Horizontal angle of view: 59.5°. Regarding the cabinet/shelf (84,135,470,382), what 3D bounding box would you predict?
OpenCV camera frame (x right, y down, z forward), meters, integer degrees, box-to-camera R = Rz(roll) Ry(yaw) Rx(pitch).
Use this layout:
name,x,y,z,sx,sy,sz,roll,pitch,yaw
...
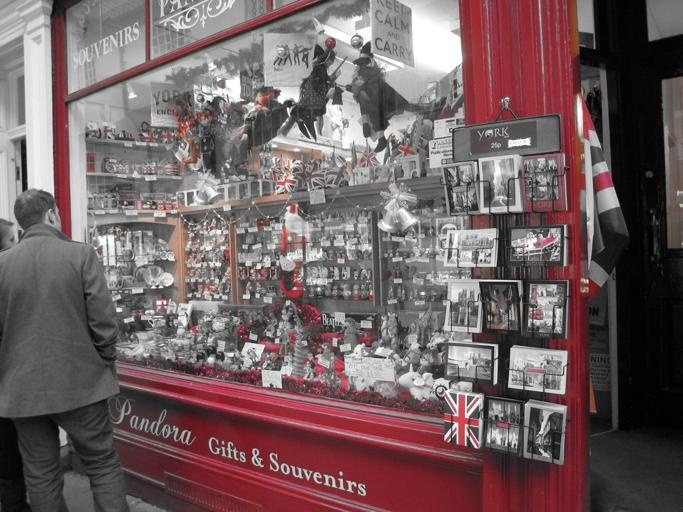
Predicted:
name,x,y,z,sx,sy,sz,roll,pitch,yaw
cabinet/shelf,-0.406,0.038,4.209,1.653,1.757,0.580,-2,-3,31

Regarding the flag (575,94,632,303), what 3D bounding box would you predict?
name,x,y,z,sx,sy,sz,roll,pitch,yaw
flag,1.607,-0.333,3.642,0.247,1.208,1.025,0,1,26
